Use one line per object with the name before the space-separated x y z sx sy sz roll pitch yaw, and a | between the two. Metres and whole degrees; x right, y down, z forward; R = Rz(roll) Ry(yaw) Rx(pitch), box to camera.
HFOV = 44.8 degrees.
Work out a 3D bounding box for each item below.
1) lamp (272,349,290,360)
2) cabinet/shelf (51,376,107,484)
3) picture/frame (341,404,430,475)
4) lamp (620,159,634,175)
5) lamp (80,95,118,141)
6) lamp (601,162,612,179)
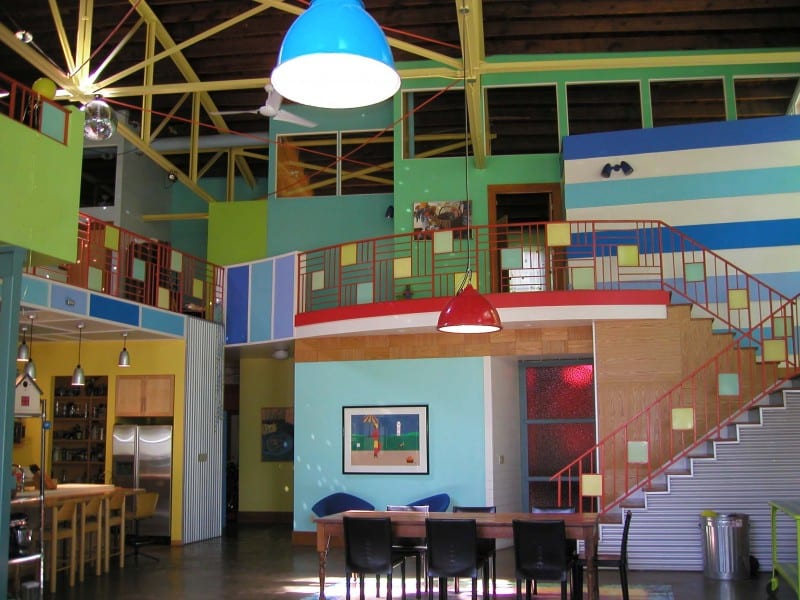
lamp | -2.247 1.014 18.028 0.252 0.183 0.174 11 1 36
cabinet/shelf | -5.826 2.319 17.513 1.068 1.938 0.612 -2 -12 -3
picture/frame | -0.219 2.385 16.377 1.265 0.911 0.044 -1 -12 10
lamp | 3.980 -2.342 17.131 0.227 0.259 0.146 -5 -12 12
lamp | -4.463 -2.691 14.185 0.359 0.645 0.571 -7 -13 23
lamp | 3.636 -2.308 17.172 0.204 0.259 0.138 -4 -12 9
